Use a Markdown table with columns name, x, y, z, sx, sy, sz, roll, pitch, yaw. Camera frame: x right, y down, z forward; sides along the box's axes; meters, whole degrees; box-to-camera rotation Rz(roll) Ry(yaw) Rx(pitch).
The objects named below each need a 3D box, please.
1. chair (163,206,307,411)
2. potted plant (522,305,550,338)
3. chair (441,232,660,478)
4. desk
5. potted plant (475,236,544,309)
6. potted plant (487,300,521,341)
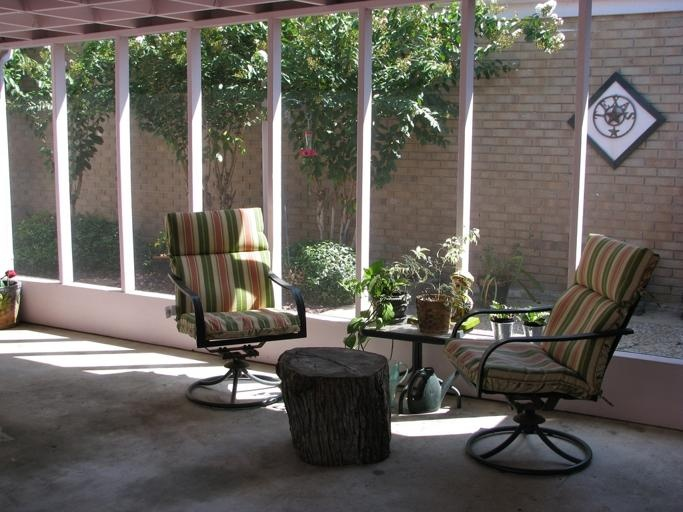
| name | x | y | z | sx | sy | sz | roll | pitch | yaw |
| --- | --- | --- | --- | --- | --- | --- | --- | --- | --- |
| chair | -0.803 | 0.352 | 4.773 | 0.881 | 1.401 | 0.774 | -2 | 8 | -22 |
| potted plant | 1.392 | 0.472 | 4.558 | 0.289 | 0.210 | 0.256 | 3 | 2 | 16 |
| chair | 1.242 | 0.603 | 3.964 | 1.207 | 1.270 | 0.980 | -4 | 6 | -11 |
| desk | 0.555 | 0.817 | 4.601 | 0.921 | 0.568 | 0.889 | 8 | 2 | -2 |
| potted plant | 1.236 | 0.146 | 4.823 | 0.466 | 0.522 | 0.460 | 1 | 0 | -31 |
| potted plant | 1.143 | 0.477 | 4.499 | 0.241 | 0.183 | 0.231 | -4 | 4 | -28 |
